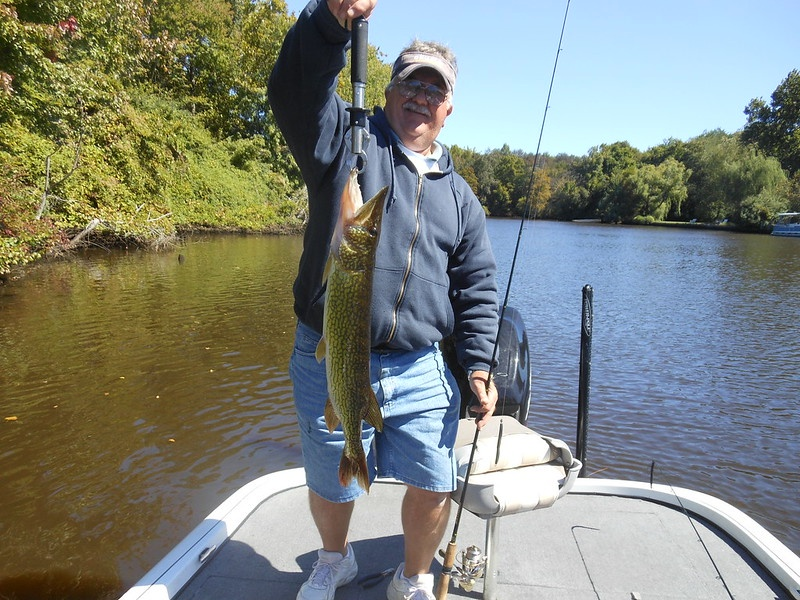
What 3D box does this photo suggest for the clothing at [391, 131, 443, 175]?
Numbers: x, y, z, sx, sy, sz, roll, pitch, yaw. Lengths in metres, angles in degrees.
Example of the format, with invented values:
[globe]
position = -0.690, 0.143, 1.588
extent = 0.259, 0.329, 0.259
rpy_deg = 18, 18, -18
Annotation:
[clothing]
position = 0.147, -0.962, 3.909
extent = 0.226, 0.174, 0.309
rpy_deg = 9, 14, 30

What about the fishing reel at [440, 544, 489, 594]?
[fishing reel]
position = 0.457, 1.851, 4.239
extent = 0.301, 0.252, 0.405
rpy_deg = 21, 12, -7
